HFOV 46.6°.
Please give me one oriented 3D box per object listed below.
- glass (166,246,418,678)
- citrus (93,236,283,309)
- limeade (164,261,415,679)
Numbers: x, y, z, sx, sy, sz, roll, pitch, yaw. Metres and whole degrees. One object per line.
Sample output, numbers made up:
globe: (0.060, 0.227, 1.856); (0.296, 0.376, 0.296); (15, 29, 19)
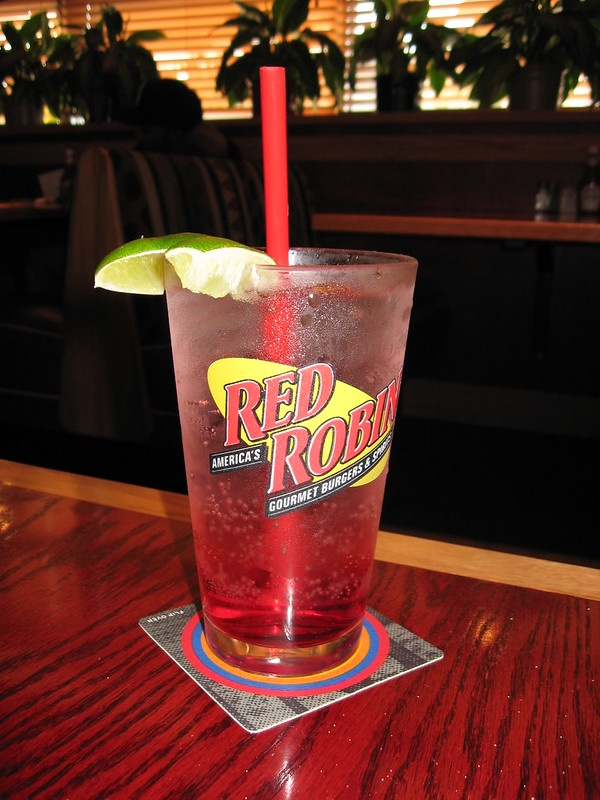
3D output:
glass: (-0.011, 0.034, 0.398); (0.140, 0.207, 0.131); (1, 6, 7)
citrus: (-0.066, -0.073, 0.385); (0.073, 0.036, 0.160); (-4, 13, -28)
limeade: (-0.003, 0.028, 0.395); (0.123, 0.224, 0.115); (-7, 15, -39)
